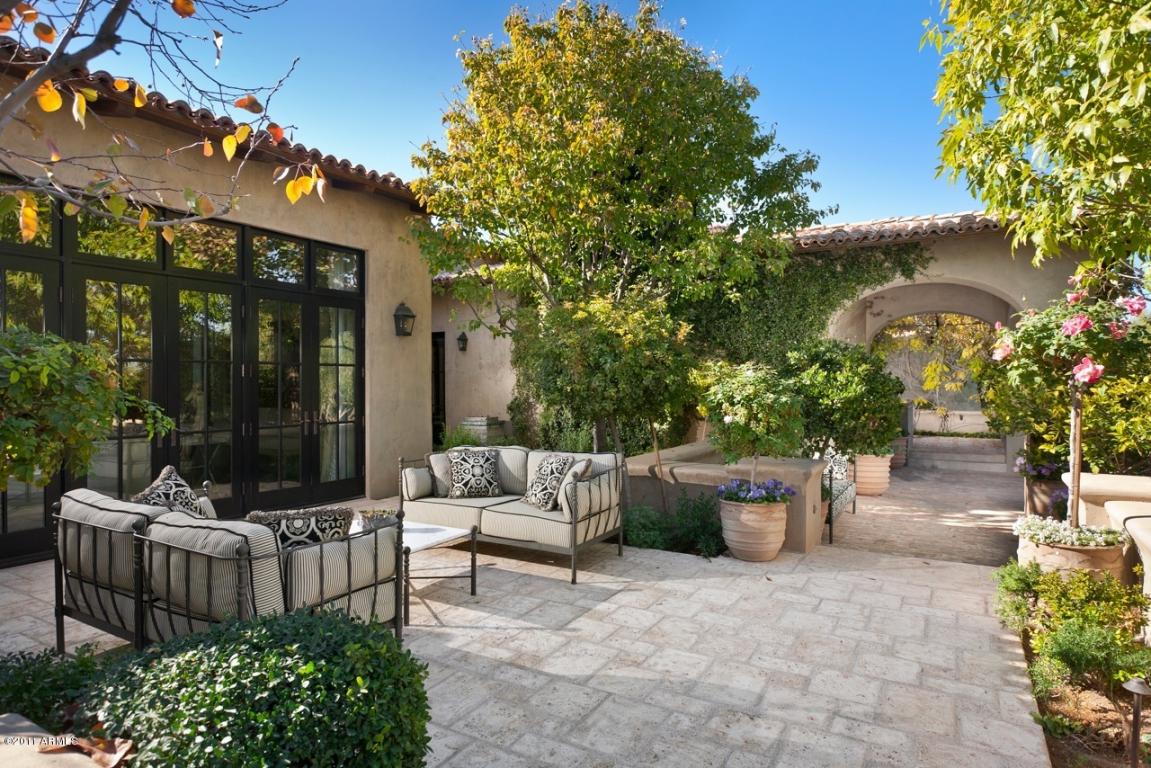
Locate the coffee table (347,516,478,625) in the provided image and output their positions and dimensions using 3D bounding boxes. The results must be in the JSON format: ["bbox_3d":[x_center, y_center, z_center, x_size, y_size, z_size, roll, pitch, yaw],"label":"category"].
[{"bbox_3d":[-1.401,1.397,6.015,1.331,0.607,0.863,-2,-2,41],"label":"coffee table"}]

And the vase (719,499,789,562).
[{"bbox_3d":[1.863,1.469,6.945,0.629,0.481,0.602,-6,-7,43],"label":"vase"}]

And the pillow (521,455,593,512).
[{"bbox_3d":[-0.205,0.983,6.897,0.719,0.485,0.520,5,10,27],"label":"pillow"}]

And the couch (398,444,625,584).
[{"bbox_3d":[-0.720,1.275,7.309,2.298,1.025,1.107,1,2,31],"label":"couch"}]

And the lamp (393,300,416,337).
[{"bbox_3d":[-2.521,-0.941,9.853,0.289,0.510,0.258,-4,11,-27],"label":"lamp"}]

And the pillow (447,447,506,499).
[{"bbox_3d":[-1.123,0.963,7.587,0.666,0.582,0.620,-7,22,-17],"label":"pillow"}]
